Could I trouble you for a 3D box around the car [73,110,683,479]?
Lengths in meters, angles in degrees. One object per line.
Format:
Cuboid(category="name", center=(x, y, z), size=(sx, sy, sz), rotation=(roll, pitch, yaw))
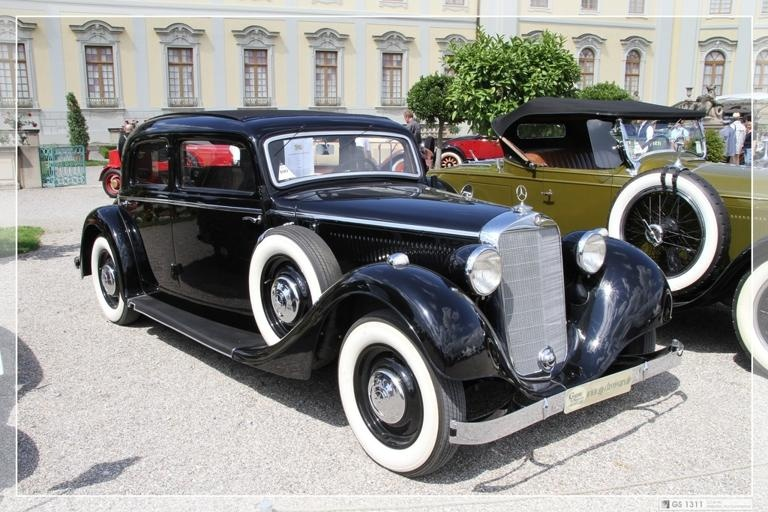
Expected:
Cuboid(category="car", center=(-0.223, -0.001, 5.335), size=(5.223, 2.629, 2.282), rotation=(9, 18, 35))
